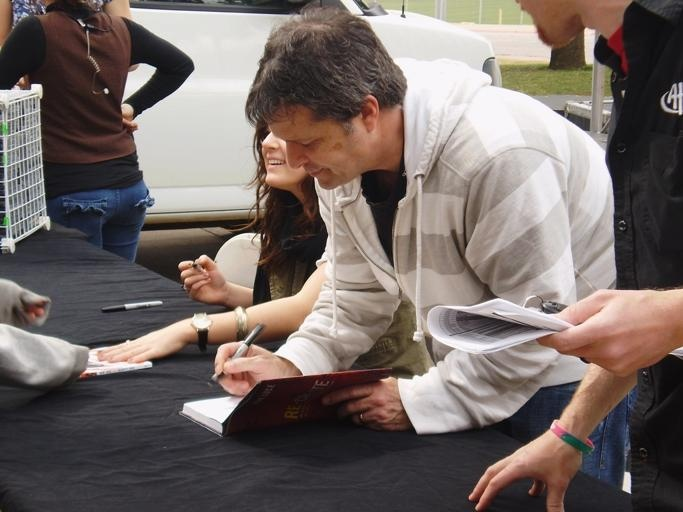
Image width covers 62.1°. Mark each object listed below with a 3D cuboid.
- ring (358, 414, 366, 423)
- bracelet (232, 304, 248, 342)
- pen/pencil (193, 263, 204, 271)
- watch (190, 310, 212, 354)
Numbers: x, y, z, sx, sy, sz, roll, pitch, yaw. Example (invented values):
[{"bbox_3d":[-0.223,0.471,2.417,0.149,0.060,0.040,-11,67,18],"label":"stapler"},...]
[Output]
[{"bbox_3d":[0.049,0.384,1.346,0.004,0.017,0.016,-16,39,-10],"label":"ring"},{"bbox_3d":[-0.330,0.223,1.848,0.045,0.100,0.094,-4,8,-14],"label":"bracelet"},{"bbox_3d":[-0.537,0.041,2.135,0.012,0.031,0.024,-49,31,-21],"label":"pen/pencil"},{"bbox_3d":[-0.426,0.240,1.823,0.067,0.097,0.104,0,15,-7],"label":"watch"}]
